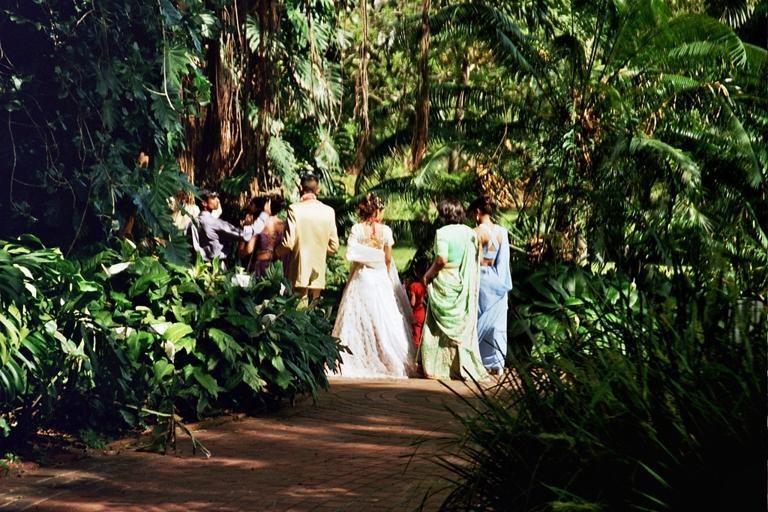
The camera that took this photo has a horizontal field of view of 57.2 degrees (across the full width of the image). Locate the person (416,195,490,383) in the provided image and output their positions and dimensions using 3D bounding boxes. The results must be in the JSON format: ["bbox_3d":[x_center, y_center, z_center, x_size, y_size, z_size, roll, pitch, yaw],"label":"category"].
[{"bbox_3d":[1.117,0.466,10.850,0.963,2.774,1.043,1,16,0],"label":"person"}]

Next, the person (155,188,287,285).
[{"bbox_3d":[-2.267,-0.299,10.424,0.858,0.963,1.611,-4,-5,4],"label":"person"}]
